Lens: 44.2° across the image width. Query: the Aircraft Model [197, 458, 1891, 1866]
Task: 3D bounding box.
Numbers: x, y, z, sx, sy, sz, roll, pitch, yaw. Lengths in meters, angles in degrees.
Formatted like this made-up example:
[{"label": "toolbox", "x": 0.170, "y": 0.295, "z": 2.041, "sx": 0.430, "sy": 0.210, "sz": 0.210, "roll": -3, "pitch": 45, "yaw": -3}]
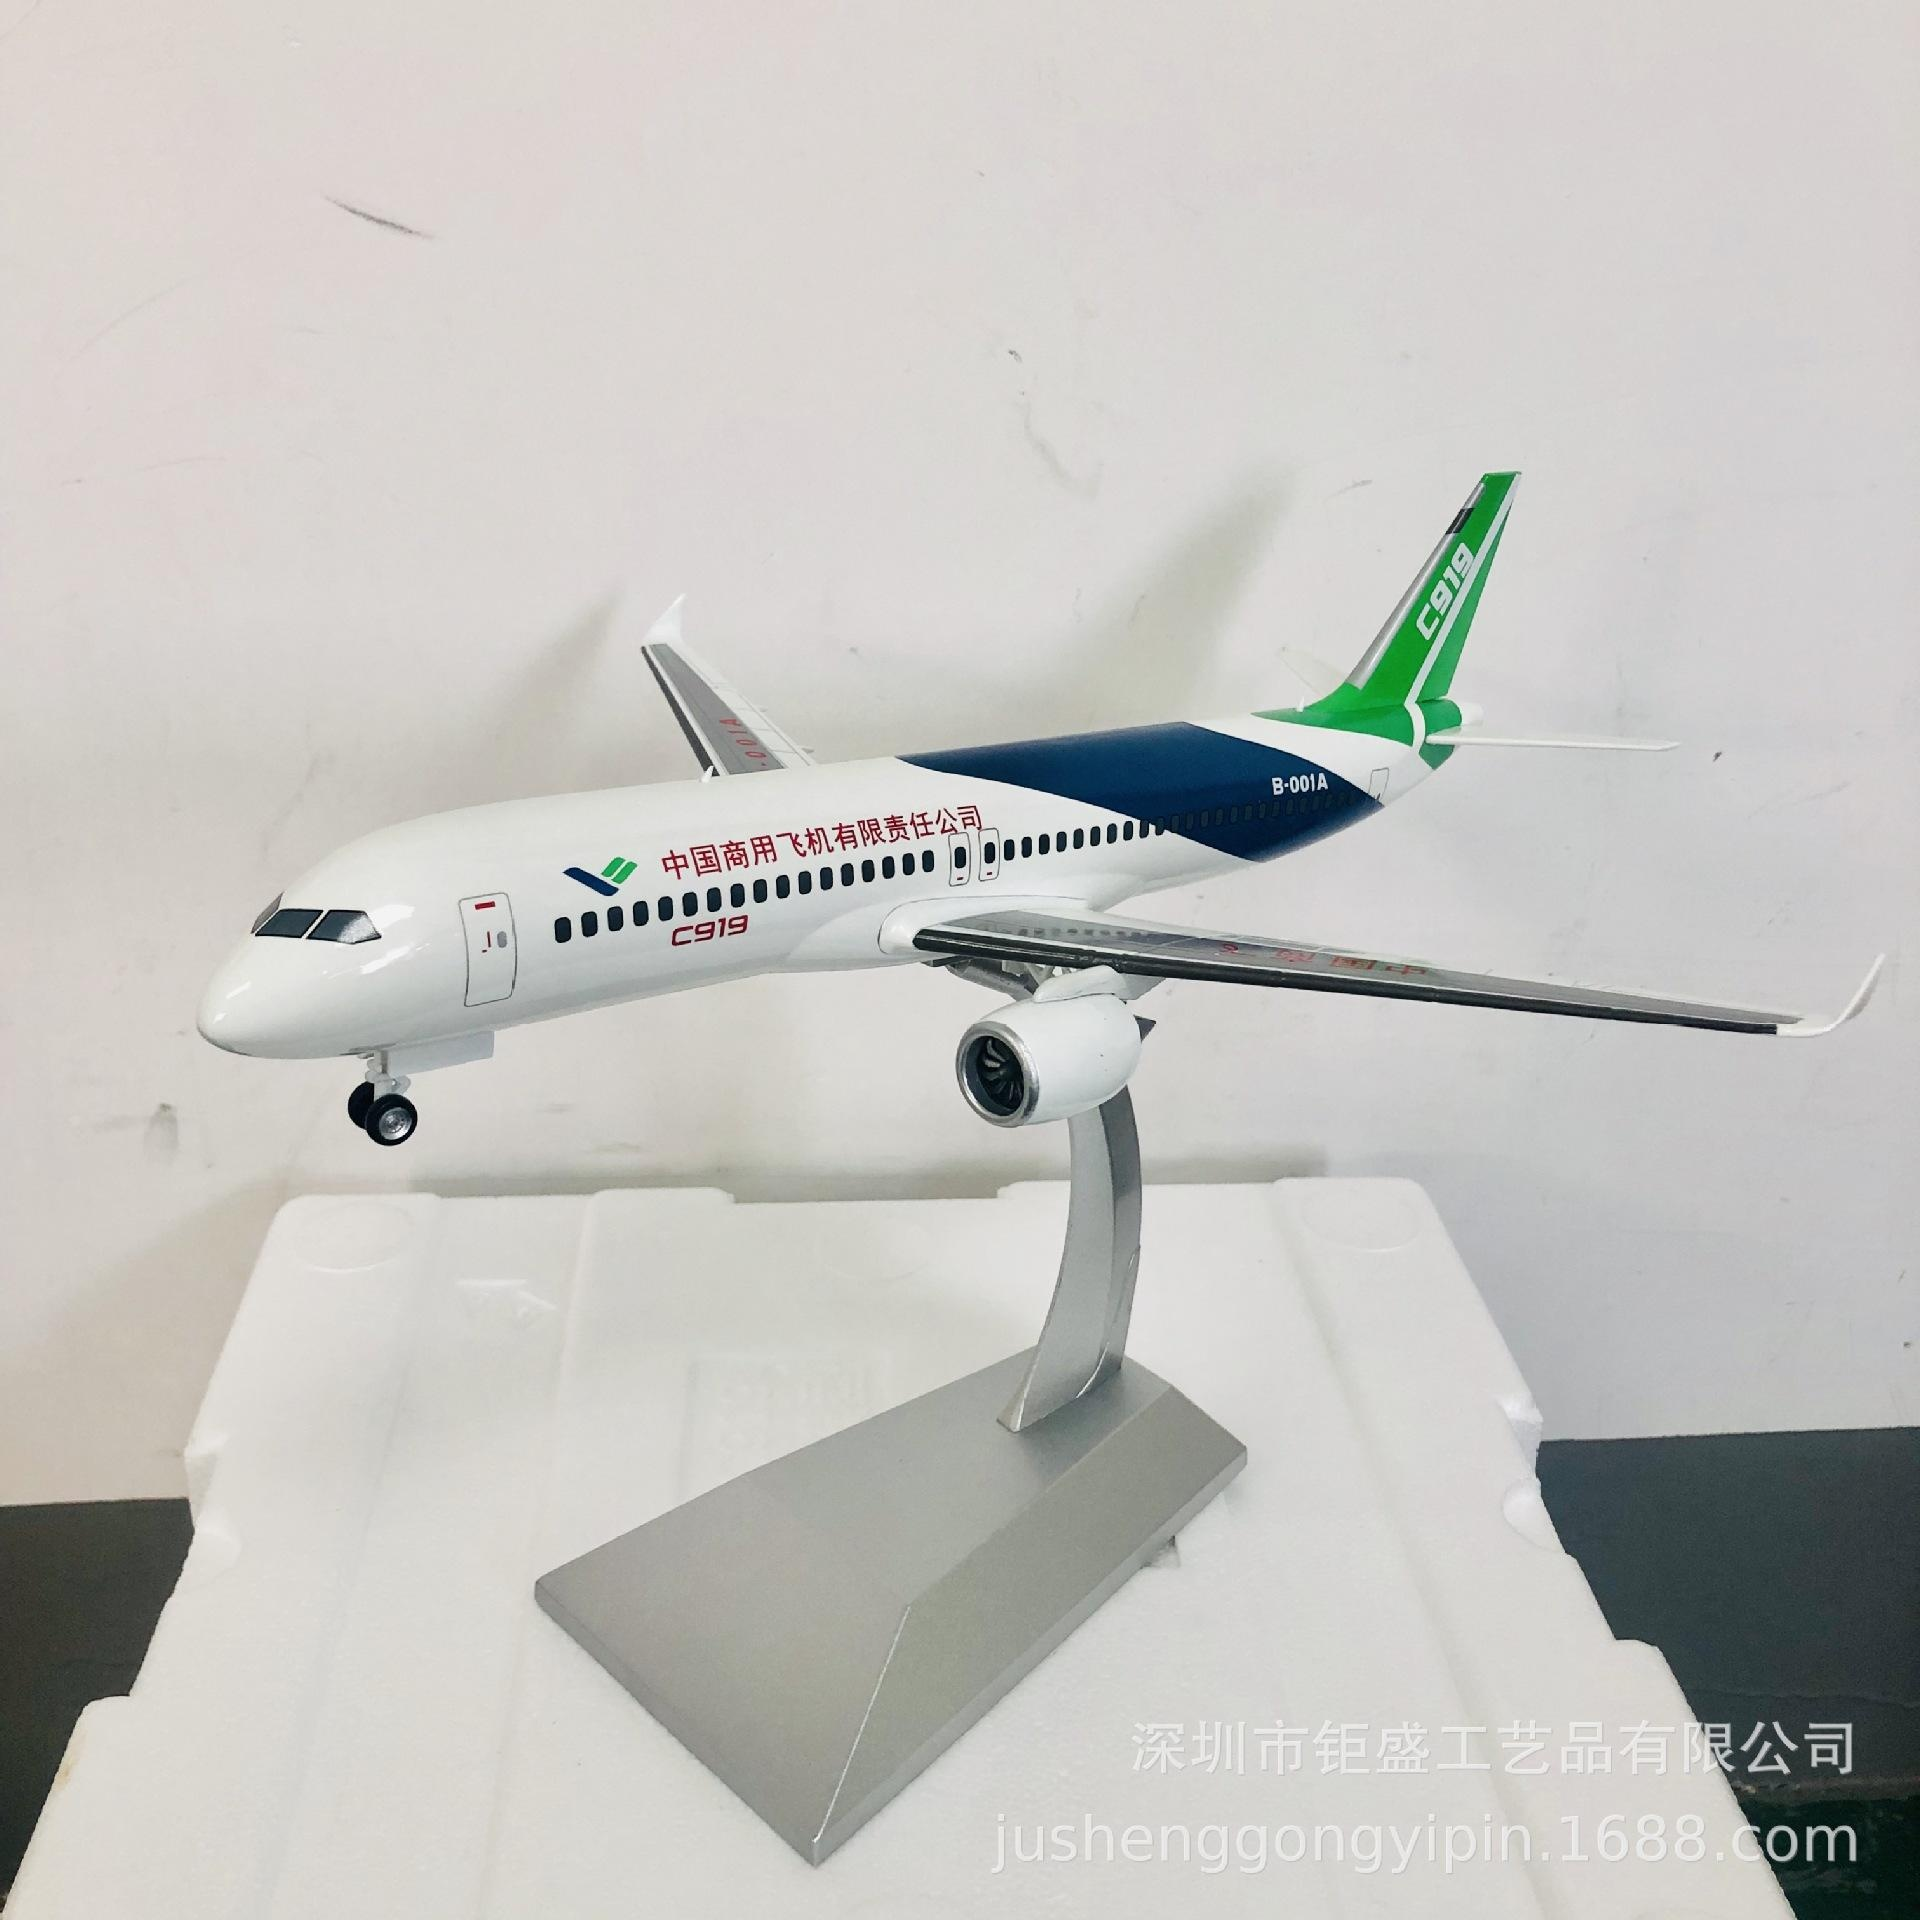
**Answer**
[{"label": "Aircraft Model", "x": -0.074, "y": 0.034, "z": 3.596, "sx": 2.104, "sy": 1.173, "sz": 2.183, "roll": -18, "pitch": 32, "yaw": -40}]
